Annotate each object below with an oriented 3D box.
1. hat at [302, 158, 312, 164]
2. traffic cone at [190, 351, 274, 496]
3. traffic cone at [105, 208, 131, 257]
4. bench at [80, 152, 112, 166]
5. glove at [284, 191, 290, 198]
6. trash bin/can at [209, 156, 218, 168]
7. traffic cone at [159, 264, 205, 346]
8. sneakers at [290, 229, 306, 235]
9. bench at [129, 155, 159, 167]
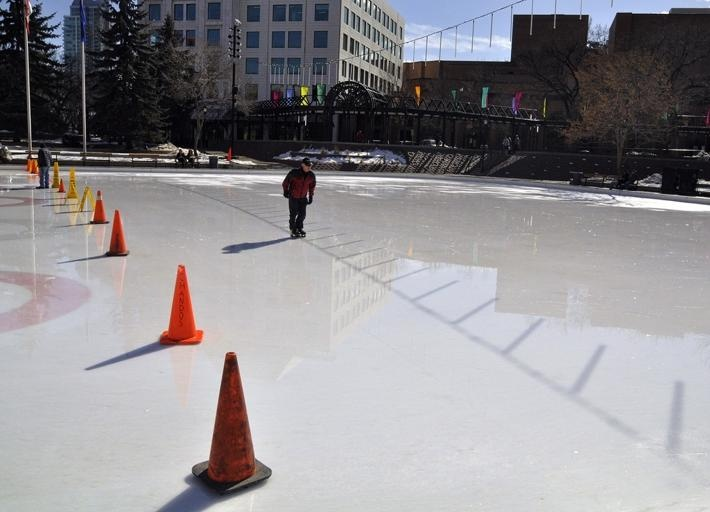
[{"bbox_3d":[-1.012,-2.017,14.212,0.191,0.218,0.149,3,6,-17],"label":"hat"},{"bbox_3d":[-0.959,1.274,5.211,0.642,0.935,0.656,-2,9,-16],"label":"traffic cone"},{"bbox_3d":[-4.239,-0.402,11.967,0.490,0.776,0.505,-1,-3,-28],"label":"traffic cone"},{"bbox_3d":[-17.289,-6.673,44.857,1.847,0.646,7.101,-3,14,-20],"label":"bench"},{"bbox_3d":[-1.454,-1.311,14.297,0.100,0.143,0.310,2,13,5],"label":"glove"},{"bbox_3d":[-9.716,-6.453,45.976,0.681,0.849,0.709,-5,15,-24],"label":"trash bin/can"},{"bbox_3d":[-2.001,0.500,7.678,0.500,0.948,0.709,-2,12,-14],"label":"traffic cone"},{"bbox_3d":[-1.240,-0.512,14.609,0.274,0.133,0.125,0,4,22],"label":"sneakers"},{"bbox_3d":[-14.904,-6.750,47.168,1.745,0.398,5.983,-3,14,-19],"label":"bench"}]
